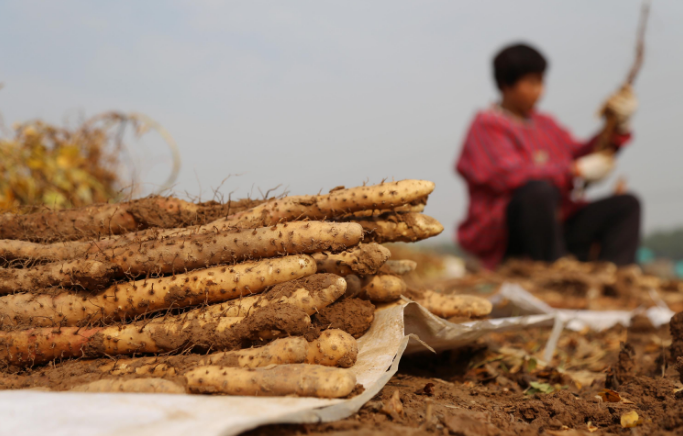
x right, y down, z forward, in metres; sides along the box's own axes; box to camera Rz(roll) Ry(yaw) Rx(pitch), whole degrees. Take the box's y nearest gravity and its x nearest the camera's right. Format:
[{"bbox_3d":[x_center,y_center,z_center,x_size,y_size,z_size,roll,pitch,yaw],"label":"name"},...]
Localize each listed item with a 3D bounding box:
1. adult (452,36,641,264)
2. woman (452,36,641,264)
[{"bbox_3d":[1.473,-0.309,7.243,1.279,1.806,1.350,3,7,28],"label":"adult"},{"bbox_3d":[1.480,-0.423,7.116,1.301,1.577,0.334,1,17,4],"label":"woman"}]
